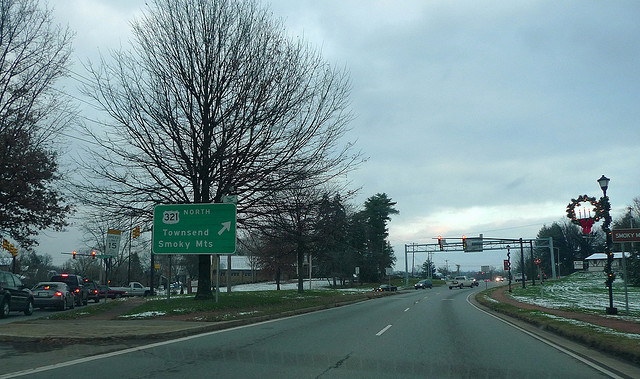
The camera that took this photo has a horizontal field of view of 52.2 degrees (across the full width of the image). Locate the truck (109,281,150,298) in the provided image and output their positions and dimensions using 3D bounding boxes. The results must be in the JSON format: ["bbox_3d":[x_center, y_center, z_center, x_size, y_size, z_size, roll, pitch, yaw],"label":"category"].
[{"bbox_3d":[-20.257,10.493,69.614,4.070,1.532,1.965,0,-9,-9],"label":"truck"}]

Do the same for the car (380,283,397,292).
[{"bbox_3d":[9.135,13.055,86.578,2.270,0.886,1.369,1,-7,-4],"label":"car"}]

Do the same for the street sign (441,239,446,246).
[{"bbox_3d":[17.323,7.441,92.426,0.968,0.895,0.232,0,0,33],"label":"street sign"}]

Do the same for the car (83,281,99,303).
[{"bbox_3d":[-21.239,9.288,60.792,1.189,1.187,2.541,1,-7,-10],"label":"car"}]

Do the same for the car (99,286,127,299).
[{"bbox_3d":[-20.903,10.131,65.946,2.510,1.391,6.211,1,-13,-18],"label":"car"}]

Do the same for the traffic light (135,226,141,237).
[{"bbox_3d":[-13.276,3.049,47.469,0.351,0.728,0.695,2,-12,-23],"label":"traffic light"}]

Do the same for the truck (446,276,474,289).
[{"bbox_3d":[19.761,13.173,92.839,3.853,1.240,1.691,2,-5,-37],"label":"truck"}]

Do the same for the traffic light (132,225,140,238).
[{"bbox_3d":[-13.336,3.103,47.394,0.455,0.860,0.841,0,-11,-11],"label":"traffic light"}]

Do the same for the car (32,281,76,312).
[{"bbox_3d":[-20.467,8.172,50.347,2.089,2.304,3.034,-2,-12,-1],"label":"car"}]
